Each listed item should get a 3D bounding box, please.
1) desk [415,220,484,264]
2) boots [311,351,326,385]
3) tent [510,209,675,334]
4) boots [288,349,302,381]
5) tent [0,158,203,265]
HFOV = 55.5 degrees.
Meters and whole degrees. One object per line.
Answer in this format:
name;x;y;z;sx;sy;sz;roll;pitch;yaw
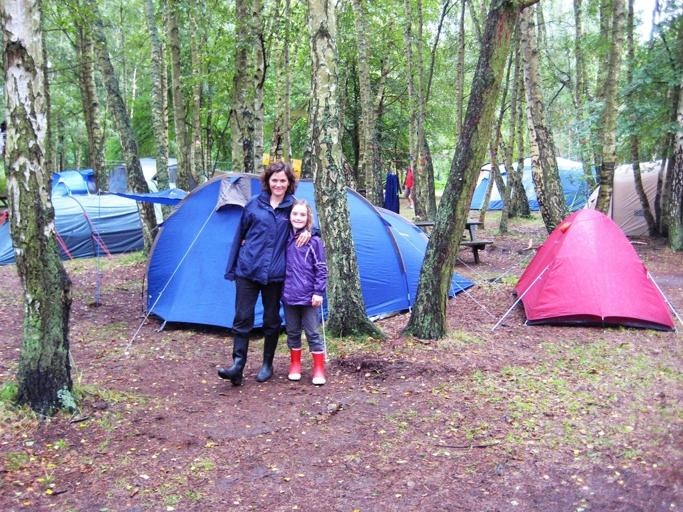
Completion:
desk;2.355;-0.309;15.111;1.647;0.877;1.513;-2;8;-15
boots;-0.275;1.347;7.873;0.166;0.331;0.456;-2;11;-3
tent;3.656;0.157;9.717;1.917;1.408;1.715;0;4;-1
boots;-0.570;1.314;7.936;0.156;0.359;0.445;-1;14;-2
tent;-6.508;-0.950;16.873;4.185;1.478;4.064;-13;20;-39
